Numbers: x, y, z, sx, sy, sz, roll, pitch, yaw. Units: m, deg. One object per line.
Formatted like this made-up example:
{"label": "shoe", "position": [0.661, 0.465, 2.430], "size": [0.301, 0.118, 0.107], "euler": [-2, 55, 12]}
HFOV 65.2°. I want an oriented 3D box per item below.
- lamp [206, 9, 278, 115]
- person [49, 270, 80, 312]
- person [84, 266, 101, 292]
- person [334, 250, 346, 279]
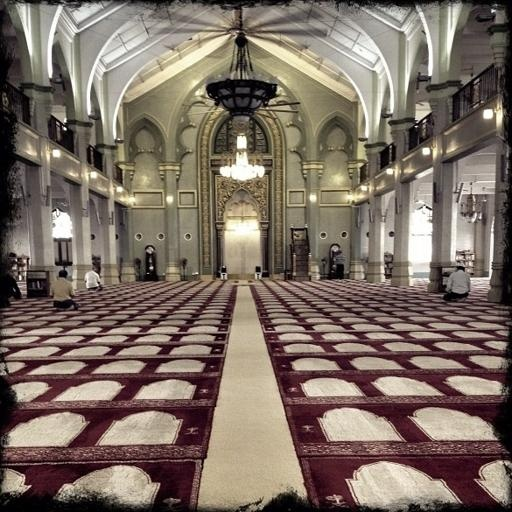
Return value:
{"label": "lamp", "position": [-0.312, -4.722, 9.012], "size": [1.496, 2.820, 1.410], "euler": [0, 6, 12]}
{"label": "person", "position": [-3.736, 0.679, 7.844], "size": [0.452, 0.804, 0.596], "euler": [-1, 0, -24]}
{"label": "person", "position": [-5.197, 0.800, 12.794], "size": [0.438, 0.673, 0.567], "euler": [-1, 0, -25]}
{"label": "person", "position": [3.935, 0.393, 18.760], "size": [0.453, 0.952, 0.789], "euler": [-1, 0, 11]}
